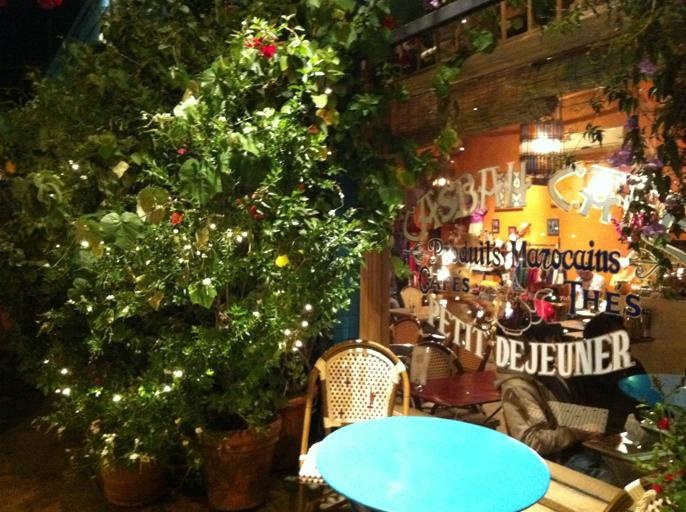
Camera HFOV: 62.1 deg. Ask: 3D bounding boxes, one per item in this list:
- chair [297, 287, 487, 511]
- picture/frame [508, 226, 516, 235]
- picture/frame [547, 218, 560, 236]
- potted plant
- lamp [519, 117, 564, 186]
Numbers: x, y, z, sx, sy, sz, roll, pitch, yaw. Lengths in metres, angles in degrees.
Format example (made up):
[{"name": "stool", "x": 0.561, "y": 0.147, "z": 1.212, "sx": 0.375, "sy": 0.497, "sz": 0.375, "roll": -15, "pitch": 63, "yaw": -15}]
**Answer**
[{"name": "chair", "x": 0.260, "y": 1.068, "z": 3.915, "sx": 0.905, "sy": 1.402, "sz": 1.033, "roll": 0, "pitch": -1, "yaw": -5}, {"name": "picture/frame", "x": 1.128, "y": -0.158, "z": 3.790, "sx": 0.014, "sy": 0.054, "sz": 0.057, "roll": -8, "pitch": 11, "yaw": -38}, {"name": "picture/frame", "x": 1.324, "y": -0.172, "z": 3.592, "sx": 0.014, "sy": 0.134, "sz": 0.104, "roll": -3, "pitch": 6, "yaw": -38}, {"name": "potted plant", "x": -0.875, "y": 0.064, "z": 3.920, "sx": 2.194, "sy": 3.525, "sz": 1.130, "roll": -1, "pitch": 9, "yaw": 0}, {"name": "lamp", "x": 1.243, "y": -0.676, "z": 3.797, "sx": 0.346, "sy": 0.468, "sz": 0.359, "roll": 0, "pitch": 2, "yaw": -4}]
